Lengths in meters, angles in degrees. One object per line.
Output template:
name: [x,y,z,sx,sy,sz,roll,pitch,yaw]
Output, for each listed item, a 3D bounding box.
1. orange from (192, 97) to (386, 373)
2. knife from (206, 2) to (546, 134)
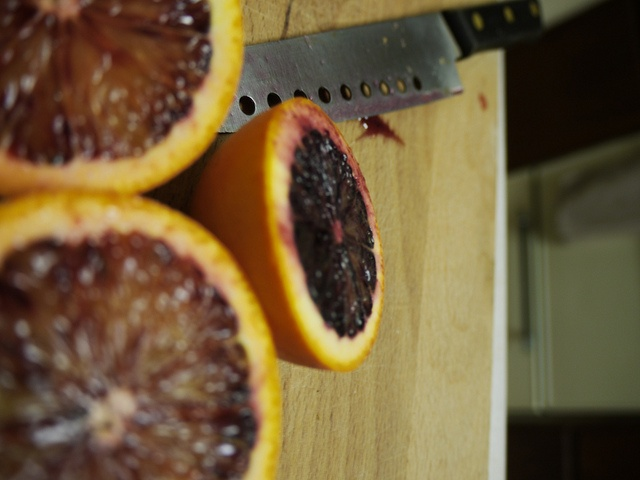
orange: [-0.013,0.015,0.961,0.295,0.149,0.322,-61,135,-63]
knife: [0.167,-0.320,1.205,0.059,0.794,0.210,-17,-85,49]
